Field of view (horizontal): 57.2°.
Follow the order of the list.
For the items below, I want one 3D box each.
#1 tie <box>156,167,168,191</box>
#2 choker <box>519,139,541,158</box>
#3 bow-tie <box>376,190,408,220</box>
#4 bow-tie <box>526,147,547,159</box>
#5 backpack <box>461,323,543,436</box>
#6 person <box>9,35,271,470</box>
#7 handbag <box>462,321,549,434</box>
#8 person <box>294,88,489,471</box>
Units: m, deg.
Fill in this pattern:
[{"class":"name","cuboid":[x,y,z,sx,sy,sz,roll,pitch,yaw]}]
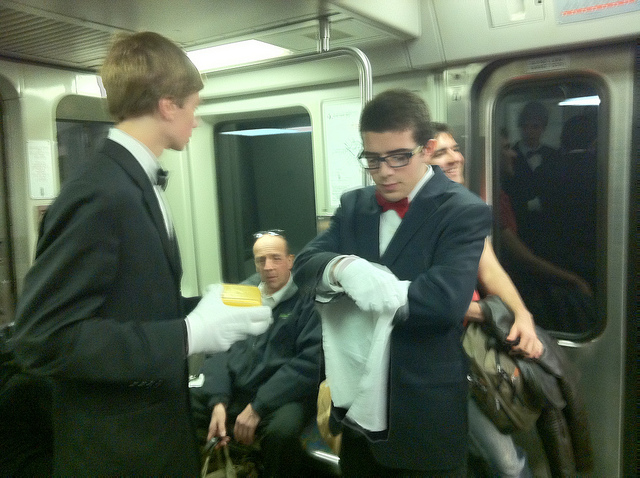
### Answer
[{"class":"tie","cuboid":[-0.592,-0.227,2.211,0.020,0.059,0.044,7,6,22]},{"class":"choker","cuboid":[1.131,-0.489,3.169,0.097,0.050,0.127,0,-3,19]},{"class":"bow-tie","cuboid":[0.294,-0.140,2.425,0.143,0.110,0.029,5,11,44]},{"class":"bow-tie","cuboid":[1.158,-0.462,3.156,0.103,0.057,0.021,4,11,41]},{"class":"backpack","cuboid":[0.920,0.638,2.689,0.172,0.355,0.481,29,33,4]},{"class":"person","cuboid":[-0.687,0.072,2.110,0.784,1.572,0.303,-7,9,-27]},{"class":"handbag","cuboid":[0.787,0.635,2.658,0.164,0.500,0.391,-28,11,29]},{"class":"person","cuboid":[0.316,0.200,2.404,0.712,1.573,0.347,-1,8,15]}]
